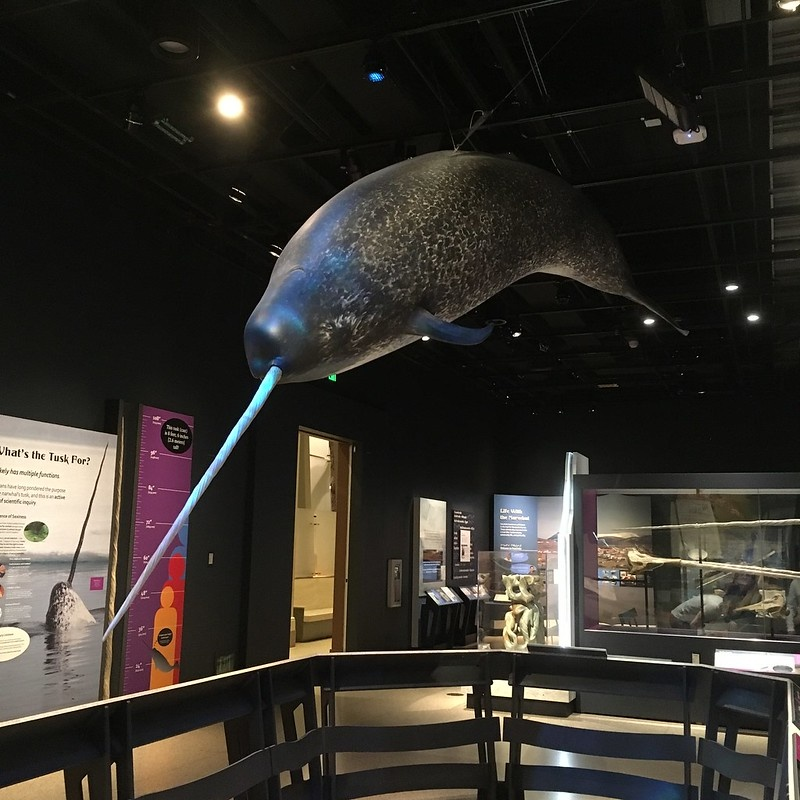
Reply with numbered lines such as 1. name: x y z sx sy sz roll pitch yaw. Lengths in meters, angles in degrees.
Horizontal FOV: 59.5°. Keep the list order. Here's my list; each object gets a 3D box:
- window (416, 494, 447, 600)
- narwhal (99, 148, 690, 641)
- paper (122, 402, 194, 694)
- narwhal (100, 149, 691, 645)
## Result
1. window: 0.436 1.901 8.923 0.102 1.178 0.872 -6 -13 29
2. narwhal: 0.075 -0.176 0.966 0.797 0.344 0.233 -38 16 -26
3. paper: -1.591 0.992 4.796 0.424 1.906 0.027 6 -9 -31
4. narwhal: 0.068 -0.161 0.976 0.823 0.323 0.238 -36 26 -23
